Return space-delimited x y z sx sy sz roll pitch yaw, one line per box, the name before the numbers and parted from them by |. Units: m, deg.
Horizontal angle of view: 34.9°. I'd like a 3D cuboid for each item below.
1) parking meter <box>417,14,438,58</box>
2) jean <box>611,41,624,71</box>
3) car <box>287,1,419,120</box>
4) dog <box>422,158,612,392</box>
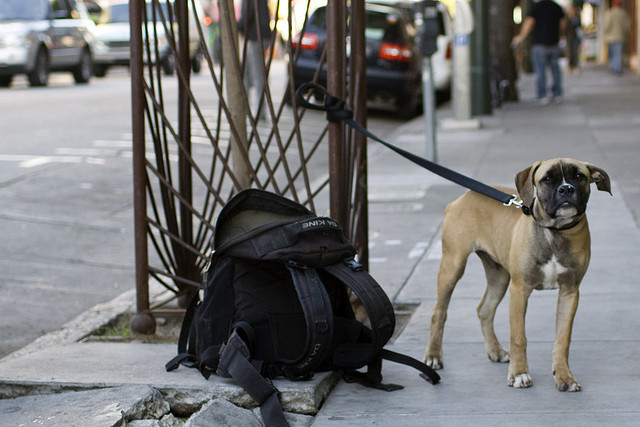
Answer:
parking meter | 1.568 -2.620 14.950 0.203 0.657 0.507 -9 16 -27
jean | 9.596 -5.109 32.874 0.301 1.077 1.093 2 15 14
car | 1.072 -2.871 18.771 2.256 2.441 5.635 2 6 18
dog | 1.441 0.428 7.937 0.781 1.769 2.170 0 3 -20
